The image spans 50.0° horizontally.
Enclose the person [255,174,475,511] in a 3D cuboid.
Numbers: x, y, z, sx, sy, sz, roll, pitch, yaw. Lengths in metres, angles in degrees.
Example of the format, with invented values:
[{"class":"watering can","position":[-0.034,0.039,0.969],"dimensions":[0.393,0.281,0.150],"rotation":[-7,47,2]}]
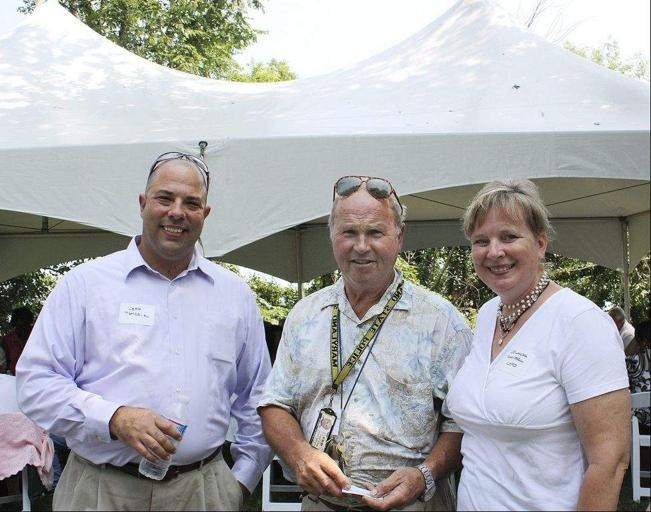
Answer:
[{"class":"person","position":[0.203,0.431,3.729],"dimensions":[1.085,1.688,0.416],"rotation":[-2,-6,18]}]

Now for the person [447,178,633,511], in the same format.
[{"class":"person","position":[1.041,0.451,3.471],"dimensions":[0.864,1.686,0.301],"rotation":[-2,-6,25]}]

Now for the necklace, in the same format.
[{"class":"necklace","position":[0.998,0.259,3.584],"dimensions":[0.091,0.362,0.265],"rotation":[26,2,-16]}]
